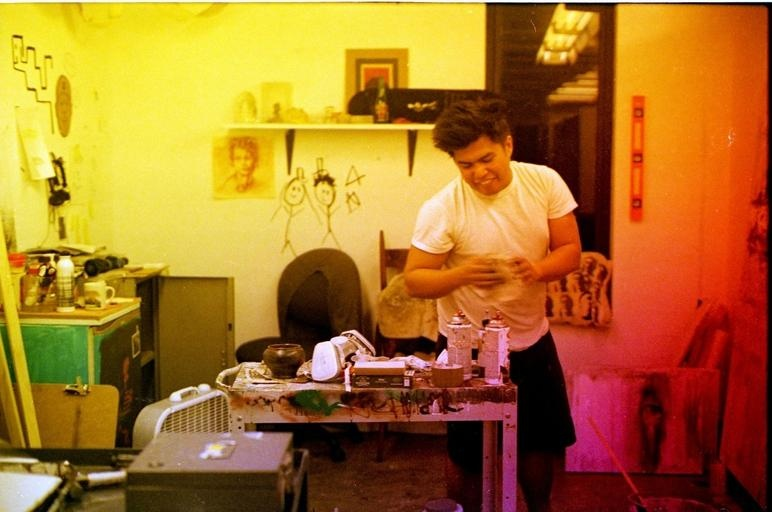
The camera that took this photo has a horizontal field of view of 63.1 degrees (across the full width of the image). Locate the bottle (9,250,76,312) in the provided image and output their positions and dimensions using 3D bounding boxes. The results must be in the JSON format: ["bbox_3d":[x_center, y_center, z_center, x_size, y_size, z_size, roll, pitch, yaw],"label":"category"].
[{"bbox_3d":[-1.901,0.123,3.572,0.308,0.307,0.290,-5,9,-11],"label":"bottle"}]

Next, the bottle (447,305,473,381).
[{"bbox_3d":[0.363,0.346,2.931,0.129,0.191,0.119,-7,40,6],"label":"bottle"}]

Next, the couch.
[{"bbox_3d":[1.633,0.721,4.085,0.936,1.143,1.251,-1,-5,13],"label":"couch"}]

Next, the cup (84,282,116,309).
[{"bbox_3d":[-1.637,0.204,3.616,0.152,0.145,0.256,-5,9,-11],"label":"cup"}]

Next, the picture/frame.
[{"bbox_3d":[-0.052,-0.977,3.588,0.382,0.395,0.023,-10,23,-24],"label":"picture/frame"}]

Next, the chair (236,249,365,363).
[{"bbox_3d":[-0.410,0.263,3.771,0.650,0.826,0.748,1,2,13],"label":"chair"}]
